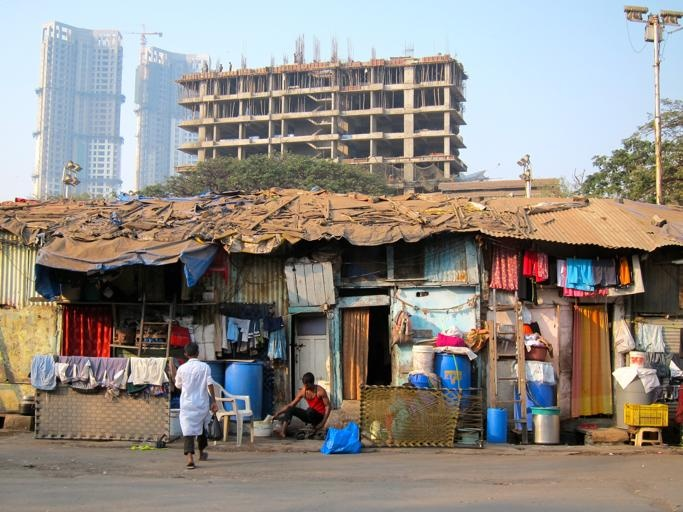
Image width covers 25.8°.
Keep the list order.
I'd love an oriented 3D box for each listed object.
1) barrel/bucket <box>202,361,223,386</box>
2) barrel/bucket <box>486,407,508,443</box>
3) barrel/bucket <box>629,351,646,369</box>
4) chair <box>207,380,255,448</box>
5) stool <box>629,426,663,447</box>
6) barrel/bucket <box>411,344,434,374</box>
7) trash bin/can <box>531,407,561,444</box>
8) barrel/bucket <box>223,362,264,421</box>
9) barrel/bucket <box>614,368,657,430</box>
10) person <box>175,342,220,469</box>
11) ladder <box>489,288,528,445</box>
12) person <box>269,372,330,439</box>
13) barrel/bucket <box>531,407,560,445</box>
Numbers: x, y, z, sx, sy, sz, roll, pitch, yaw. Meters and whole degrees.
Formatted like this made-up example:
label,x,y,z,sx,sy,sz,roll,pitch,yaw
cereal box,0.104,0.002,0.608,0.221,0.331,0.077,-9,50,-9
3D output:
label,x,y,z,sx,sy,sz,roll,pitch,yaw
barrel/bucket,-3.675,3.283,42.269,0.589,0.649,0.592,0,-4,0
barrel/bucket,4.381,4.749,41.757,0.590,0.999,0.449,-2,-5,1
barrel/bucket,8.437,2.923,42.301,0.481,0.501,0.476,1,-7,0
chair,-3.081,4.291,41.049,1.529,2.033,1.695,-1,-2,15
stool,8.539,5.028,41.498,0.615,0.588,0.617,0,-8,-4
barrel/bucket,2.208,2.879,42.221,0.685,0.670,0.695,0,-5,0
trash bin/can,5.786,4.749,41.806,0.727,1.061,0.433,-1,-5,-2
barrel/bucket,-2.776,3.823,42.472,0.983,1.651,0.925,0,-3,0
barrel/bucket,8.463,3.997,42.114,1.073,1.767,0.986,-3,-3,0
person,-3.747,3.797,37.962,0.966,3.194,0.363,-1,-5,-7
ladder,4.792,3.148,42.854,1.086,4.382,0.830,-3,-2,8
person,-1.001,4.128,41.475,1.360,1.740,0.960,-1,-5,0
barrel/bucket,5.652,4.801,42.093,0.914,0.906,0.916,0,-6,0
